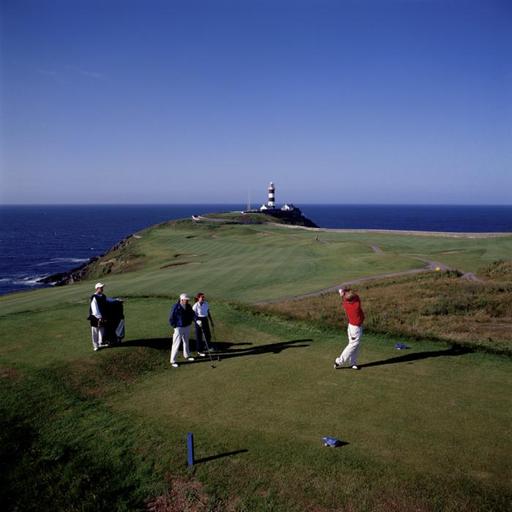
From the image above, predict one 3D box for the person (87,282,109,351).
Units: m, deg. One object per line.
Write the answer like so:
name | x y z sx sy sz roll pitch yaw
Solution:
person | -5.135 1.943 14.640 0.556 2.047 0.869 -4 6 -18
